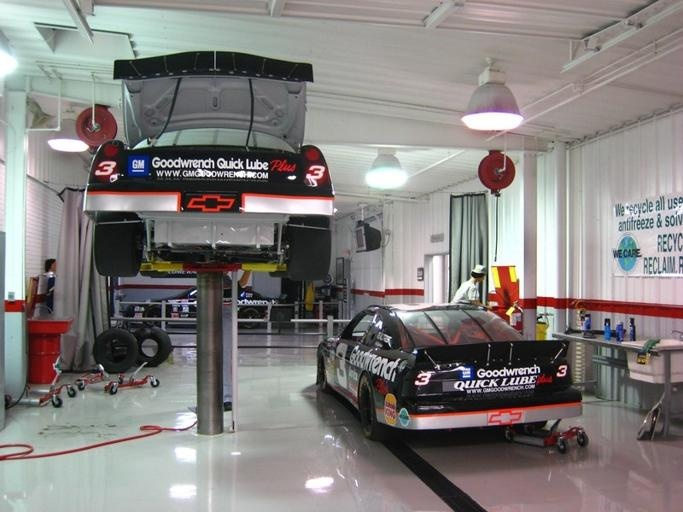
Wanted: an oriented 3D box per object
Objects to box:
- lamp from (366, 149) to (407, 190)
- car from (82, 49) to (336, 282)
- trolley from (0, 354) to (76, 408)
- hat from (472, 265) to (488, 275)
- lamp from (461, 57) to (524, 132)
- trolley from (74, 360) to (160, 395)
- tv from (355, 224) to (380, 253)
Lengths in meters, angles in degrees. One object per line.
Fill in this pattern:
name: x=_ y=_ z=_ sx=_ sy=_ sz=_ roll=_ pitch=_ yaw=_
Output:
lamp: x=0.830 y=-1.542 z=10.379 sx=0.750 sy=0.591 sz=0.781 roll=1 pitch=-6 yaw=-2
car: x=-1.744 y=-1.178 z=7.623 sx=2.695 sy=2.731 sz=4.808 roll=0 pitch=2 yaw=-9
trolley: x=-4.543 y=1.959 z=8.226 sx=0.791 sy=0.475 sz=0.555 roll=-1 pitch=-1 yaw=-6
hat: x=2.611 y=0.292 z=10.344 sx=0.332 sy=0.157 sz=0.450 roll=4 pitch=1 yaw=10
lamp: x=2.017 y=-2.223 z=7.311 sx=0.742 sy=0.894 sz=0.848 roll=2 pitch=-1 yaw=-2
trolley: x=-3.800 y=2.129 z=9.147 sx=1.051 sy=0.419 sz=0.674 roll=0 pitch=-3 yaw=-22
tv: x=0.772 y=-0.552 z=17.281 sx=0.730 sy=1.090 sz=1.014 roll=-3 pitch=2 yaw=-10
